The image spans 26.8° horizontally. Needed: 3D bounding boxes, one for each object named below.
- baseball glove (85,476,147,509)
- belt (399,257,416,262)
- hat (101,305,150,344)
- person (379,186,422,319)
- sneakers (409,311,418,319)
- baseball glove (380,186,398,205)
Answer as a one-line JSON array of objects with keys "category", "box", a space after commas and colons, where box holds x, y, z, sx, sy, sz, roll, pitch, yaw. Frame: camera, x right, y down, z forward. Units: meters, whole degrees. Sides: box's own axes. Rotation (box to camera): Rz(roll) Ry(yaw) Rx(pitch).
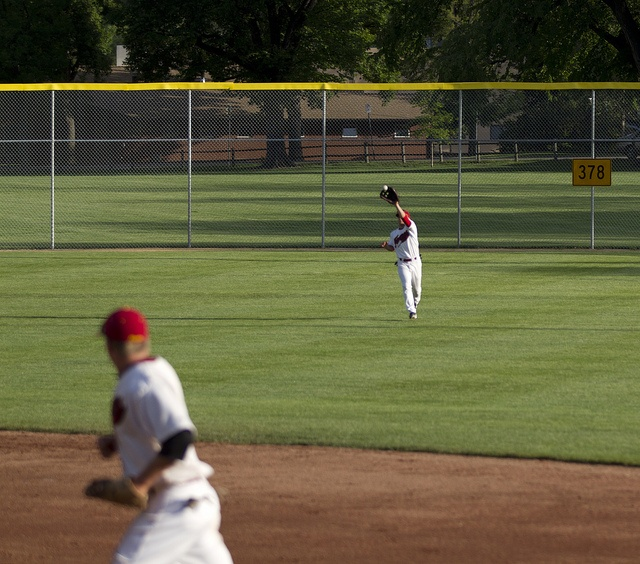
[{"category": "baseball glove", "box": [-1.838, 1.870, 11.958, 0.580, 0.284, 0.142, 0, 5, 17]}, {"category": "belt", "box": [1.312, -0.340, 20.712, 0.223, 0.068, 0.083, -1, 4, 7]}, {"category": "hat", "box": [-1.744, 0.379, 12.045, 0.374, 0.251, 0.465, -9, 20, -24]}, {"category": "person", "box": [1.270, -0.466, 20.948, 0.568, 2.061, 1.382, -1, 4, 5]}, {"category": "sneakers", "box": [1.431, 0.506, 20.784, 0.098, 0.131, 0.294, -1, -5, 2]}, {"category": "baseball glove", "box": [1.044, -1.320, 20.382, 0.207, 0.268, 0.341, -2, 4, -6]}]
